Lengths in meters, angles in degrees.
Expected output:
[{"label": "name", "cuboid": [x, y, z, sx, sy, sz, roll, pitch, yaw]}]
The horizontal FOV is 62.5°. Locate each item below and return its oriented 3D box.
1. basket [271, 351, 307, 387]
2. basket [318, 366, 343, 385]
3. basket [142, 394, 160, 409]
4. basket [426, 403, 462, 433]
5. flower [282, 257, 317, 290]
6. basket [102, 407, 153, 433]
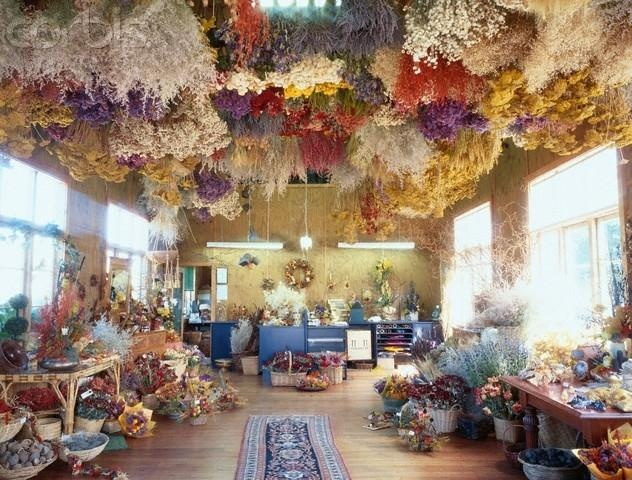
[{"label": "basket", "cuboid": [-0.520, 2.484, 9.991, 0.591, 0.544, 0.595, 0, -4, -1]}, {"label": "basket", "cuboid": [0.345, 2.567, 9.918, 0.288, 0.256, 0.310, 3, -8, -19]}, {"label": "basket", "cuboid": [-2.471, 2.436, 7.808, 0.193, 0.224, 0.216, 1, -7, 2]}, {"label": "basket", "cuboid": [1.659, 2.307, 6.690, 0.327, 0.281, 0.339, -3, -12, 24]}, {"label": "flower", "cuboid": [-0.399, 0.865, 12.969, 0.587, 0.724, 0.238, -3, -8, -4]}, {"label": "basket", "cuboid": [-2.388, 2.365, 6.737, 0.522, 0.276, 0.336, -15, -27, 38]}]
